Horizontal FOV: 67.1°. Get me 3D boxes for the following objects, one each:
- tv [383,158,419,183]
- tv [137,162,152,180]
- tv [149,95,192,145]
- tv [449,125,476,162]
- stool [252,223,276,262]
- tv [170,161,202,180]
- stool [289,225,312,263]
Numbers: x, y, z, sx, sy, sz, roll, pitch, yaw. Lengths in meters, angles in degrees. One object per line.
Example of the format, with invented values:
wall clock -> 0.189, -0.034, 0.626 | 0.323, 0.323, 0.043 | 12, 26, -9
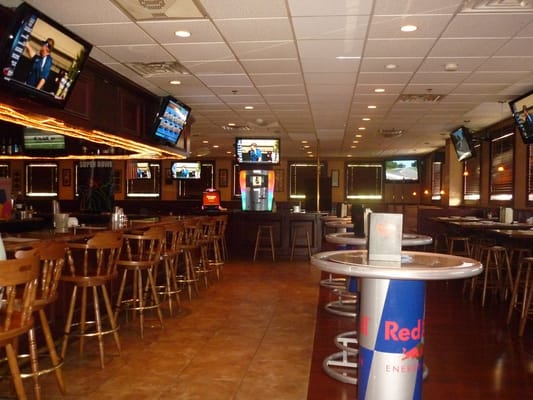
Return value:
tv -> 5.907, -1.284, 17.483 | 1.540, 0.782, 0.052 | 1, 4, 29
tv -> -5.497, -1.335, 17.808 | 0.597, 0.743, 0.447 | 1, -1, -8
tv -> -1.821, -1.512, 7.879 | 0.337, 0.925, 1.061 | 21, 10, -46
tv -> 4.932, -1.373, 9.788 | 0.410, 0.759, 0.918 | -16, -1, 6
stool -> -0.072, 1.056, 10.125 | 0.581, 0.851, 0.546 | 1, -1, -1
tv -> -3.710, -1.336, 17.942 | 1.267, 0.572, 0.106 | 1, -2, -7
stool -> 0.863, 1.050, 10.144 | 0.564, 0.886, 0.559 | 1, -1, 3
